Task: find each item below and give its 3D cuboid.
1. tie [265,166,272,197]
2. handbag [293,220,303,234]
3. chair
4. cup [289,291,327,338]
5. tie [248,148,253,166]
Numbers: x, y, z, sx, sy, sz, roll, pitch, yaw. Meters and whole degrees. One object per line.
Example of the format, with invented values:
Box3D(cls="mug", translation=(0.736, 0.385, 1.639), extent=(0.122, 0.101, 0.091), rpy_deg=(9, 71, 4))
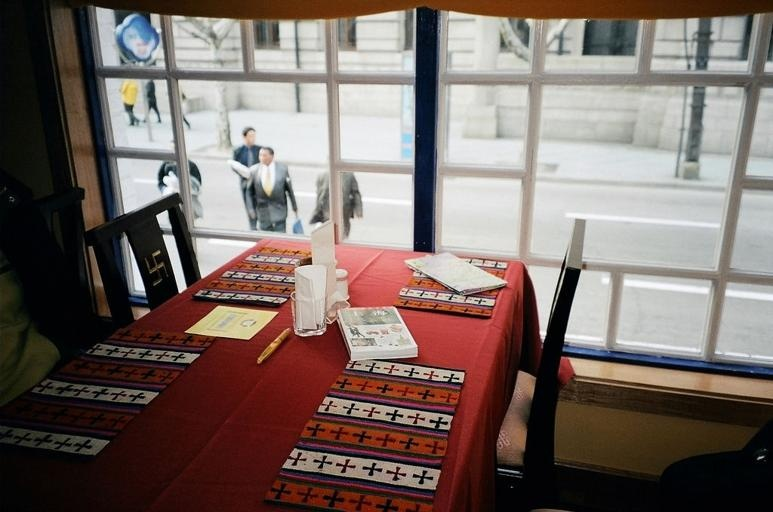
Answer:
Box3D(cls="tie", translation=(-0.661, -0.415, 3.047), extent=(0.032, 0.121, 0.092), rpy_deg=(-6, 11, -6))
Box3D(cls="handbag", translation=(-0.503, -0.159, 3.093), extent=(0.073, 0.071, 0.018), rpy_deg=(-1, 7, 22))
Box3D(cls="chair", translation=(-0.051, 0.396, 2.295), extent=(1.563, 0.772, 1.063), rpy_deg=(7, 30, 12))
Box3D(cls="cup", translation=(-0.271, 0.203, 1.989), extent=(0.150, 0.149, 0.146), rpy_deg=(-1, 16, 0))
Box3D(cls="tie", translation=(-0.756, -0.554, 3.047), extent=(0.037, 0.100, 0.019), rpy_deg=(3, 18, 0))
